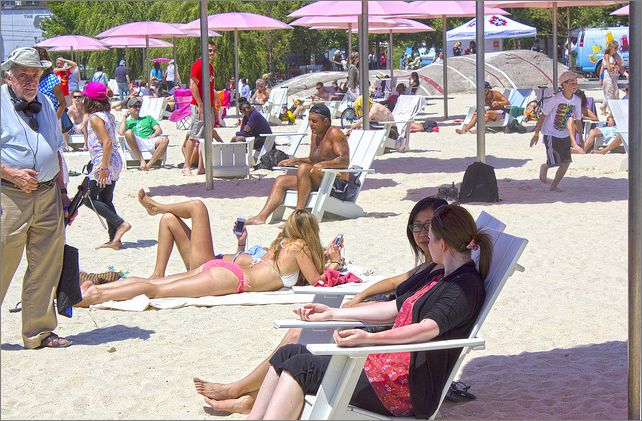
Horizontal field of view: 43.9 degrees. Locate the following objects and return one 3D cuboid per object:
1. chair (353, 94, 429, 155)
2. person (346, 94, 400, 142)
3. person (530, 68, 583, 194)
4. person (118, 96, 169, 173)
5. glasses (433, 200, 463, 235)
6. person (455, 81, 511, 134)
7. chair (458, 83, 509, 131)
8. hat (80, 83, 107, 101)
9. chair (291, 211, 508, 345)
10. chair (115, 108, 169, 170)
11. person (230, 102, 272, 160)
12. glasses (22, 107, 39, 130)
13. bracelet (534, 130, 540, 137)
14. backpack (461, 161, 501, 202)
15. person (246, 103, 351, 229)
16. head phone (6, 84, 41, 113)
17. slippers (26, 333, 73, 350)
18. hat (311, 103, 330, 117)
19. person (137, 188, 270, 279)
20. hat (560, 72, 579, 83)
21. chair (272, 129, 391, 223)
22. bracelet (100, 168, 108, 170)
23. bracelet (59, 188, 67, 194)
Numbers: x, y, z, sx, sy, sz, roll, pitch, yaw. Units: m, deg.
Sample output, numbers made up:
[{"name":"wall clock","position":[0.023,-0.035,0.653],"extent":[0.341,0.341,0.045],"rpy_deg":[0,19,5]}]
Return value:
[{"name":"chair","position":[1.572,-1.881,16.030],"extent":[1.488,1.146,1.047],"rpy_deg":[-14,22,-38]},{"name":"person","position":[1.034,-2.024,15.178],"extent":[1.100,0.627,0.675],"rpy_deg":[23,-9,6]},{"name":"person","position":[3.425,-1.166,11.474],"extent":[0.682,1.734,0.760],"rpy_deg":[2,12,16]},{"name":"person","position":[-3.258,-1.475,14.516],"extent":[0.837,1.417,1.016],"rpy_deg":[-7,9,-12]},{"name":"glasses","position":[0.874,0.049,5.468],"extent":[0.185,0.209,0.057],"rpy_deg":[-3,10,-15]},{"name":"person","position":[3.733,-2.369,18.085],"extent":[1.516,1.195,0.755],"rpy_deg":[-13,15,-37]},{"name":"chair","position":[3.740,-2.369,18.087],"extent":[1.544,1.237,0.764],"rpy_deg":[-14,18,-35]},{"name":"hat","position":[-2.633,-1.434,9.255],"extent":[0.175,0.135,0.241],"rpy_deg":[-17,35,-37]},{"name":"chair","position":[0.645,0.583,5.925],"extent":[1.443,1.138,0.940],"rpy_deg":[-8,14,-13]},{"name":"chair","position":[-3.221,-1.289,14.506],"extent":[0.832,1.147,1.180],"rpy_deg":[-12,29,-22]},{"name":"person","position":[-1.169,-1.457,14.138],"extent":[0.801,1.187,0.508],"rpy_deg":[-3,-5,-6]},{"name":"glasses","position":[-2.365,-0.765,6.503],"extent":[0.044,0.167,0.101],"rpy_deg":[-10,-9,-23]},{"name":"bracelet","position":[3.176,-1.148,11.620],"extent":[0.079,0.078,0.066],"rpy_deg":[1,6,-1]},{"name":"backpack","position":[2.282,-0.384,11.324],"extent":[0.672,0.699,0.315],"rpy_deg":[-1,-20,22]},{"name":"person","position":[-0.295,-0.639,10.228],"extent":[1.401,1.674,0.836],"rpy_deg":[-1,-6,-28]},{"name":"head phone","position":[-2.417,-0.876,6.496],"extent":[0.202,0.220,0.209],"rpy_deg":[3,44,-38]},{"name":"slippers","position":[-2.249,1.115,6.706],"extent":[0.294,0.091,0.122],"rpy_deg":[-3,7,-14]},{"name":"hat","position":[0.002,-1.290,10.036],"extent":[0.210,0.133,0.148],"rpy_deg":[17,9,-40]},{"name":"person","position":[-1.266,0.316,7.996],"extent":[1.307,0.898,0.578],"rpy_deg":[7,-13,-30]},{"name":"hat","position":[3.461,-1.866,11.052],"extent":[0.217,0.130,0.172],"rpy_deg":[-19,7,24]},{"name":"chair","position":[0.255,-0.337,10.408],"extent":[0.924,0.748,0.635],"rpy_deg":[-14,5,-14]},{"name":"bracelet","position":[-2.463,-0.486,9.068],"extent":[0.088,0.033,0.055],"rpy_deg":[-10,14,-31]},{"name":"bracelet","position":[-2.206,-0.178,6.830],"extent":[0.035,0.038,0.046],"rpy_deg":[2,1,25]}]
